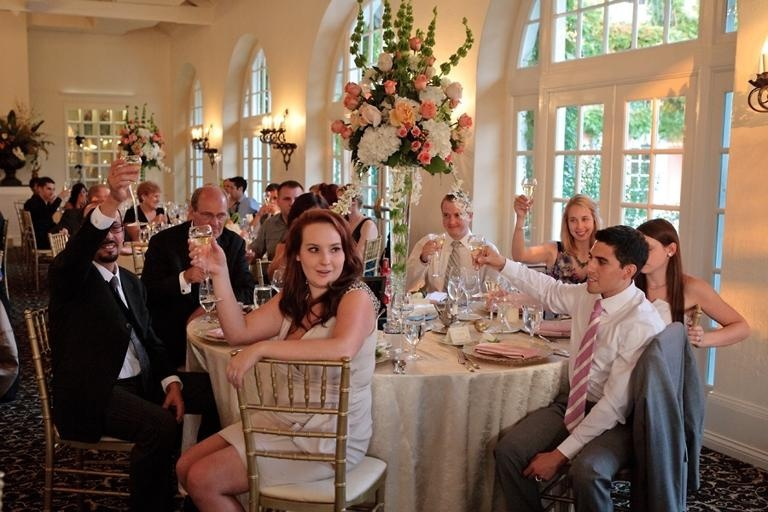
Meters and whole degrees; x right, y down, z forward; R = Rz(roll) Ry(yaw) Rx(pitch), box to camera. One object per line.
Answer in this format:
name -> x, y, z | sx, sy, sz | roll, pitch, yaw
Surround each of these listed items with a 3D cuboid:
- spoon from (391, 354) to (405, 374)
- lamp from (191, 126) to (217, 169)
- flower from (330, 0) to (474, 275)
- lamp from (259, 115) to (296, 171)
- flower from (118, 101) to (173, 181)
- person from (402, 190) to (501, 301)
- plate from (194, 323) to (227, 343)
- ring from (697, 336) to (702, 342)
spoon -> 0.072, 0.540, 2.720 | 0.062, 0.068, 0.062 | -6, 0, 8
lamp -> -3.979, -2.369, 12.069 | 0.487, 0.837, 0.495 | 0, 0, -20
flower -> 0.081, -0.665, 3.009 | 0.769, 1.532, 0.456 | 2, 7, 9
lamp -> -1.811, -1.955, 9.220 | 0.496, 0.995, 0.657 | 2, 9, -21
flower -> -3.336, -1.490, 7.615 | 0.564, 1.027, 0.590 | 2, 15, 28
person -> 0.516, 0.098, 4.238 | 0.771, 1.135, 0.599 | 1, -5, 4
plate -> -0.983, 0.432, 3.070 | 0.149, 0.027, 0.147 | 20, 8, 36
ring -> 1.685, 0.450, 2.944 | 0.023, 0.023, 0.006 | -16, -18, -11
